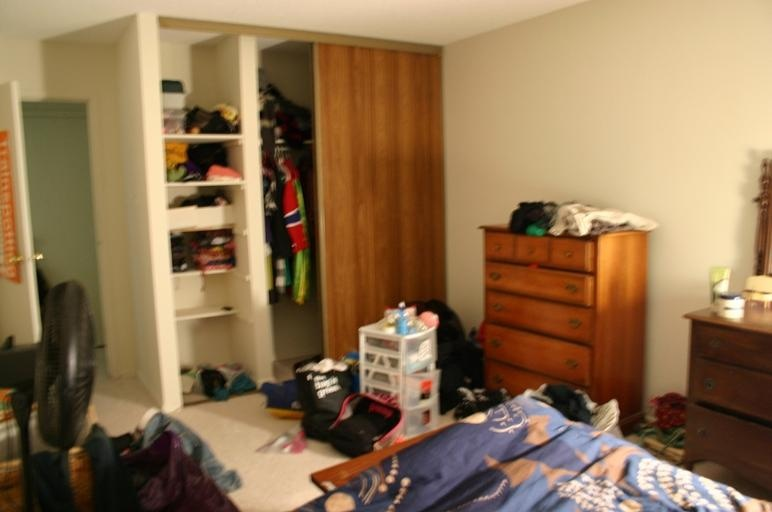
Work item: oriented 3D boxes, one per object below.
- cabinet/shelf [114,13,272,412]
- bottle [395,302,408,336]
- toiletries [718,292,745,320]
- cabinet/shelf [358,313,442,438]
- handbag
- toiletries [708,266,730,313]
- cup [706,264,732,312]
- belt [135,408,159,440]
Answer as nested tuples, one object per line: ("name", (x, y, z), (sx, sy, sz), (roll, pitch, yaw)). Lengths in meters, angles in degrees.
("cabinet/shelf", (-1.562, -0.353, 4.751), (1.105, 2.967, 0.900), (-9, 13, -32))
("bottle", (0.118, 0.437, 4.000), (0.087, 0.201, 0.162), (-2, 11, 2))
("toiletries", (1.991, 0.291, 3.303), (0.149, 0.132, 0.145), (-1, 0, 11))
("cabinet/shelf", (0.133, 0.856, 4.155), (0.439, 0.662, 0.425), (-1, 10, -43))
("handbag", (-0.423, 1.018, 4.073), (0.424, 0.506, 0.281), (8, -24, -24))
("toiletries", (2.066, 0.206, 3.528), (0.151, 0.229, 0.145), (9, -9, -20))
("cup", (2.073, 0.184, 3.538), (0.149, 0.223, 0.145), (-1, 4, 0))
("belt", (-1.190, 0.837, 2.859), (0.041, 0.158, 0.166), (31, 45, -4))
